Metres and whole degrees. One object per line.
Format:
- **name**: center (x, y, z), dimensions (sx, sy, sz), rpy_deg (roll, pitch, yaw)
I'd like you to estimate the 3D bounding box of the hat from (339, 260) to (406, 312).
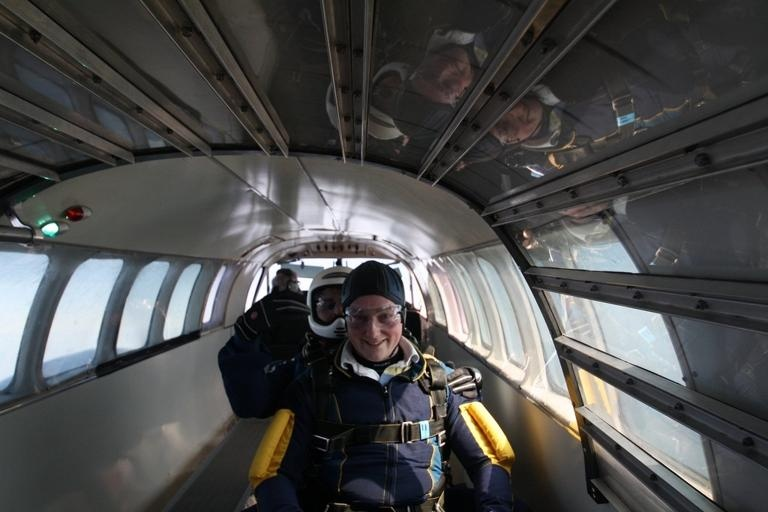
- **hat**: center (-0.096, 0.418, 4.382), dimensions (0.518, 0.426, 0.544), rpy_deg (1, -35, 0)
